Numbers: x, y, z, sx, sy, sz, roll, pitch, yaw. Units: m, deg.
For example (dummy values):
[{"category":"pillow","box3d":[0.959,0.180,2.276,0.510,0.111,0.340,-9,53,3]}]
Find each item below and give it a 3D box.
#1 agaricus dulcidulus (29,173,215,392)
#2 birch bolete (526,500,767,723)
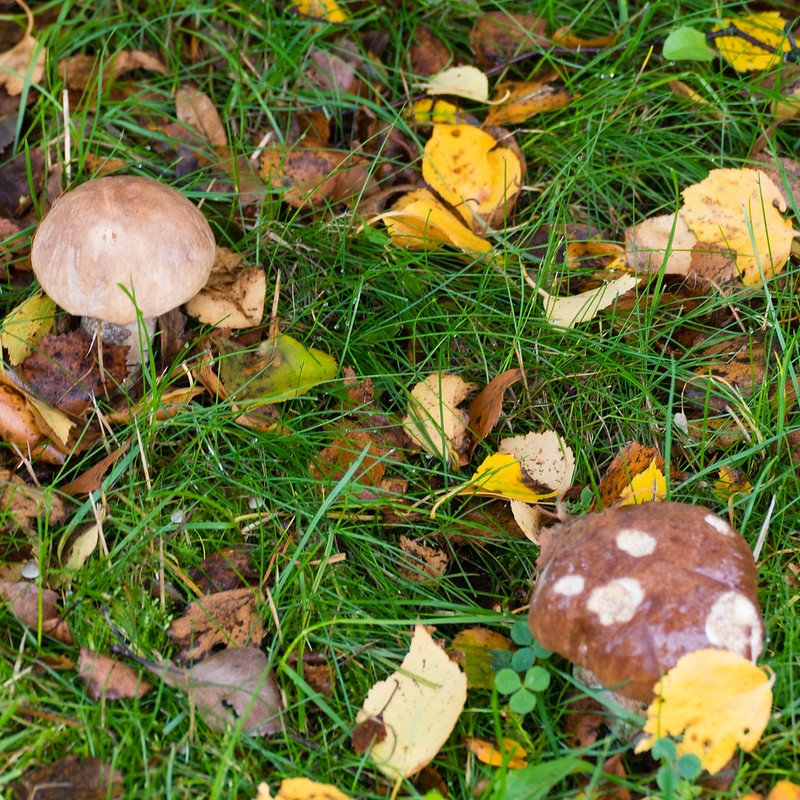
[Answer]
[{"category":"agaricus dulcidulus","box3d":[-0.636,-0.273,1.961,0.408,0.465,0.476,6,43,16]},{"category":"birch bolete","box3d":[0.507,0.409,1.599,0.461,0.207,0.387,-6,65,-8]}]
